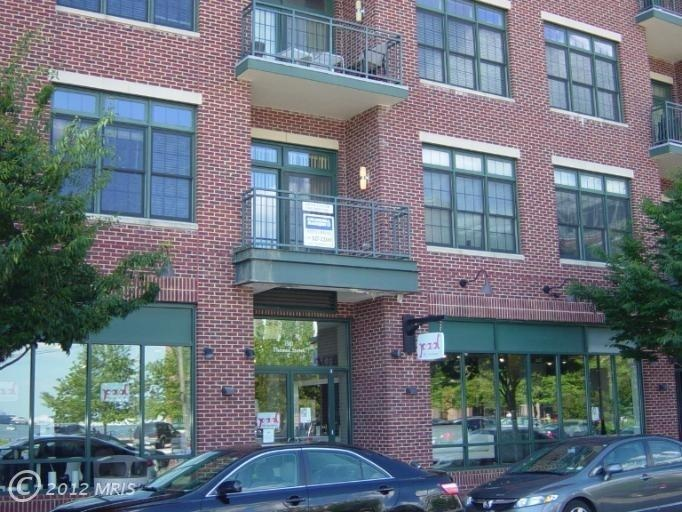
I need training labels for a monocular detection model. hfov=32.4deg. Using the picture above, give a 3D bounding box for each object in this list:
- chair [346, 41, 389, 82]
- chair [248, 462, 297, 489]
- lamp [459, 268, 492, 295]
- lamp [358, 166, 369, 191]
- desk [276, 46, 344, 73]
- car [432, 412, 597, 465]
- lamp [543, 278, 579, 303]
[{"bbox_3d":[0.771,-4.684,28.966,0.996,0.935,0.968,-13,-23,-3],"label":"chair"},{"bbox_3d":[-1.121,3.932,20.785,0.527,0.400,0.522,2,-10,-13],"label":"chair"},{"bbox_3d":[3.482,0.661,29.235,0.998,0.724,0.607,2,-15,-17],"label":"lamp"},{"bbox_3d":[0.607,-1.914,28.996,0.093,0.625,0.344,10,-18,-38],"label":"lamp"},{"bbox_3d":[-0.701,-4.746,28.271,1.302,0.289,0.873,5,2,-26],"label":"desk"},{"bbox_3d":[3.872,4.651,29.399,2.948,0.950,1.333,-2,-9,-11],"label":"car"},{"bbox_3d":[5.727,0.928,30.484,0.678,0.654,0.321,20,-4,-27],"label":"lamp"}]
